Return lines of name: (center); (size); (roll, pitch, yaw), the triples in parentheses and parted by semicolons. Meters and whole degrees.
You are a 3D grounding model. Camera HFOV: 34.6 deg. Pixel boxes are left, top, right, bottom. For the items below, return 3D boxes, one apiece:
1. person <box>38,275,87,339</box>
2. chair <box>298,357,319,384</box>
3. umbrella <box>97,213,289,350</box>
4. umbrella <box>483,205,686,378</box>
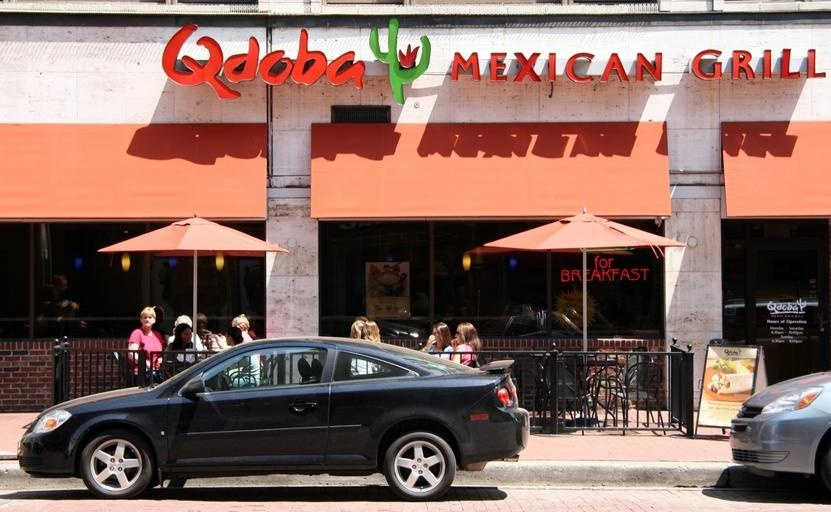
person: (-7.743, 1.086, 29.357); (0.960, 1.376, 0.213); (0, -4, 8)
chair: (-1.900, 2.066, 23.939); (0.382, 0.490, 0.441); (-9, -16, 18)
umbrella: (-4.749, 0.562, 27.530); (3.147, 1.841, 2.918); (-1, 4, -29)
umbrella: (3.470, 0.601, 27.553); (3.565, 2.412, 3.702); (1, 0, 20)
